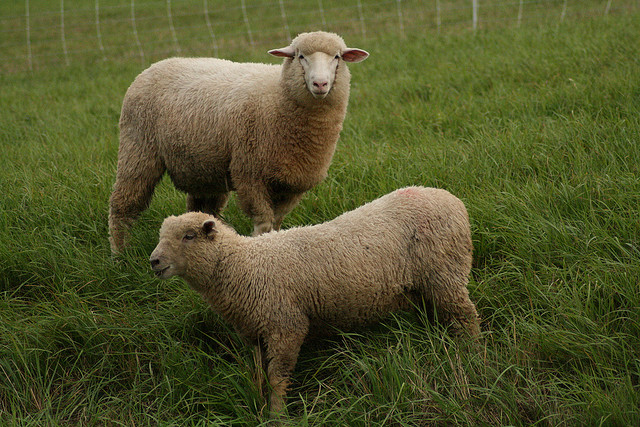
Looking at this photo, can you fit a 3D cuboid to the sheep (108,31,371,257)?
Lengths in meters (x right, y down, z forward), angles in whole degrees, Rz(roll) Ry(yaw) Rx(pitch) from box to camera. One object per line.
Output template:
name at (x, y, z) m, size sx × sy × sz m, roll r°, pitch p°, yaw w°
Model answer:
sheep at (-0.866, -0.626, 7.060) m, size 2.898 × 2.429 × 1.348 m, roll 0°, pitch 5°, yaw 27°
